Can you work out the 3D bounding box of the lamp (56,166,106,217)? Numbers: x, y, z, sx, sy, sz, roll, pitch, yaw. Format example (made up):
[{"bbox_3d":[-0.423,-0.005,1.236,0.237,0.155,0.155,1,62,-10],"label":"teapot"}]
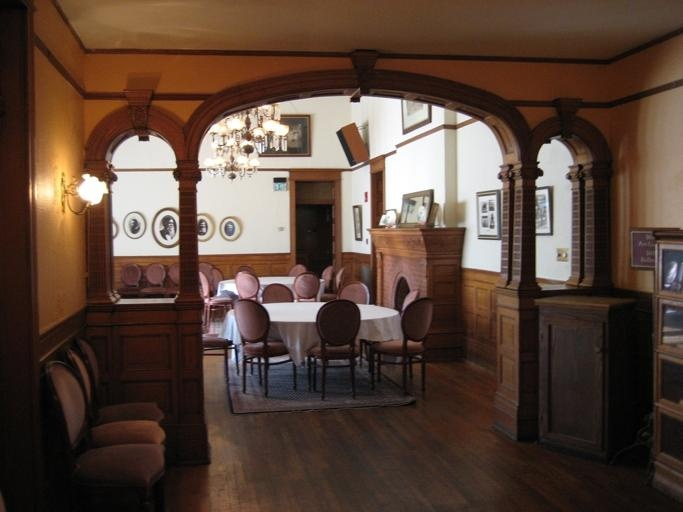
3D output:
[{"bbox_3d":[-2.108,-0.508,4.352,0.351,0.246,0.310,4,2,44],"label":"lamp"}]

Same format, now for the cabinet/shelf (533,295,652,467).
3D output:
[{"bbox_3d":[2.314,1.116,5.094,0.846,1.321,0.885,-1,-2,30],"label":"cabinet/shelf"}]

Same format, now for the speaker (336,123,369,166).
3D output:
[{"bbox_3d":[0.144,-1.438,6.940,0.414,0.697,0.145,3,-21,-2],"label":"speaker"}]

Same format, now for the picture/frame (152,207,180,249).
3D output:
[{"bbox_3d":[-3.781,-0.598,11.677,0.803,1.169,0.075,1,-1,-9],"label":"picture/frame"}]

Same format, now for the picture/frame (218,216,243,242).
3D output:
[{"bbox_3d":[-2.532,-0.622,12.321,0.474,0.621,0.121,3,-2,-9],"label":"picture/frame"}]

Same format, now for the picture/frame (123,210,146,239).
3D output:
[{"bbox_3d":[-4.520,-0.679,11.862,0.539,0.753,0.077,1,-3,-10],"label":"picture/frame"}]

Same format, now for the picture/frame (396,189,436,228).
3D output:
[{"bbox_3d":[1.164,-0.741,8.473,0.403,0.593,1.201,-1,6,-6],"label":"picture/frame"}]
